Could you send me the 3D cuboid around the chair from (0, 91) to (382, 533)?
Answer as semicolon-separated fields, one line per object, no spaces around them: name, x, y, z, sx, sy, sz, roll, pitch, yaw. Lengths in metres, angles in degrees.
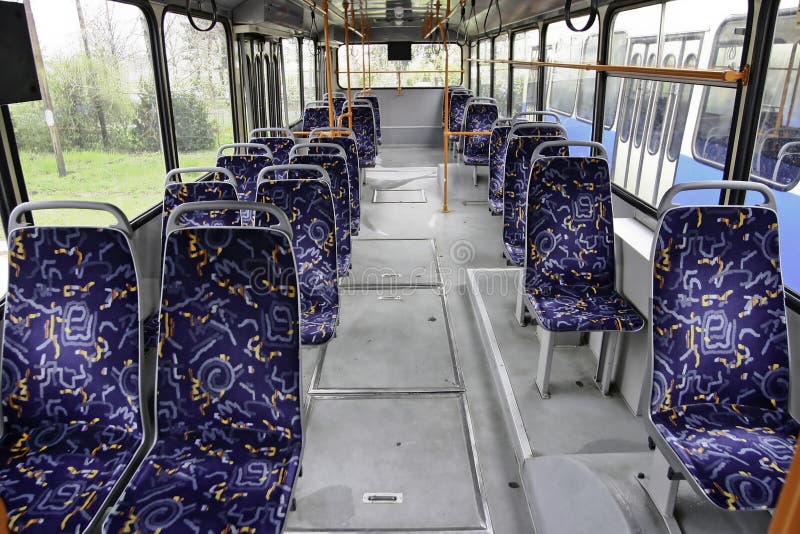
chair;-0.854;0.236;2.774;0.849;1.154;1.736;-1;19;2
